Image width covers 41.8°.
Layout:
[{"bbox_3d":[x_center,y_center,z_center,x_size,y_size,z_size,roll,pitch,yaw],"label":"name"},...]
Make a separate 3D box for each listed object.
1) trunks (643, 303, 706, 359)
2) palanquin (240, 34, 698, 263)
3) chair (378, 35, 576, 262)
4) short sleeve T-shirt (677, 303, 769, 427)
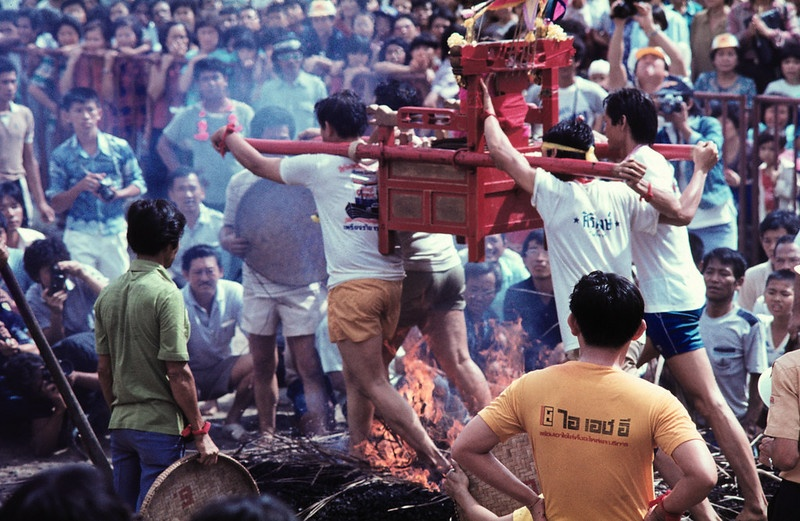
[{"bbox_3d":[1.743,0.466,6.698,0.390,0.318,0.282,-13,-11,34],"label":"trunks"},{"bbox_3d":[0.698,-0.827,7.026,1.835,0.985,1.802,-4,-3,-16],"label":"palanquin"},{"bbox_3d":[0.510,-0.813,7.168,1.139,1.449,1.063,-8,15,-36],"label":"chair"},{"bbox_3d":[2.598,0.854,8.524,0.722,1.116,0.315,10,33,37],"label":"short sleeve T-shirt"}]
